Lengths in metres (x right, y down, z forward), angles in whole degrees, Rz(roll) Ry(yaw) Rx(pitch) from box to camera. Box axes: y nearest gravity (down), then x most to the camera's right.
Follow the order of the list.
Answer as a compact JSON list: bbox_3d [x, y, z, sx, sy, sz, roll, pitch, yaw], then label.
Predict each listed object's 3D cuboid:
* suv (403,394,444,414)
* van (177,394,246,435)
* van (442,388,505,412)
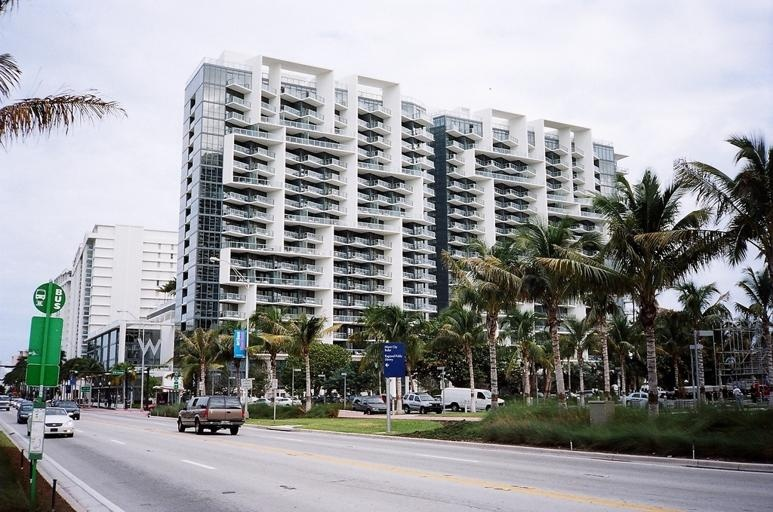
[{"bbox_3d":[3.253,12.592,67.553,2.082,1.776,3.264,7,-16,-30],"label":"suv"},{"bbox_3d":[-10.368,9.195,46.051,2.154,1.566,4.168,7,-9,-34],"label":"van"},{"bbox_3d":[7.189,12.566,69.155,3.193,2.211,7.157,1,-14,-9],"label":"van"}]
